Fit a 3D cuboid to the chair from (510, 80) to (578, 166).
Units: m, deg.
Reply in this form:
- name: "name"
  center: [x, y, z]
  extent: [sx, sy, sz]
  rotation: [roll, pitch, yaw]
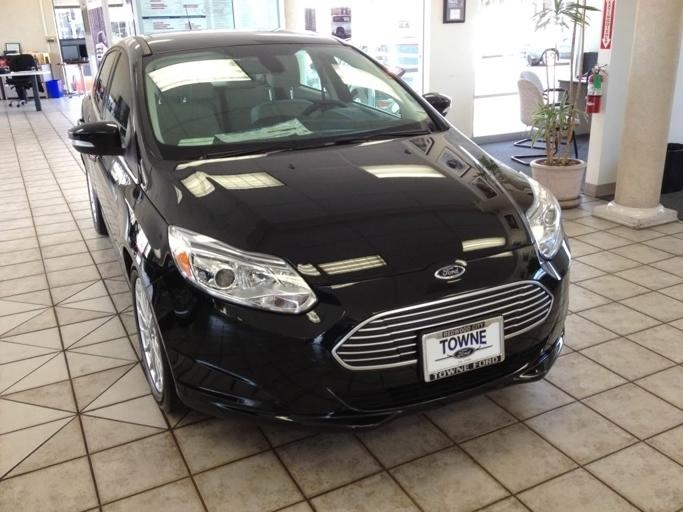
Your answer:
- name: "chair"
  center: [2.666, -1.760, 5.849]
  extent: [0.700, 0.979, 0.681]
  rotation: [-11, 20, -6]

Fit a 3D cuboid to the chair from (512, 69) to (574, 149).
- name: "chair"
  center: [2.561, -1.812, 5.892]
  extent: [0.621, 0.844, 0.581]
  rotation: [-1, 22, 17]

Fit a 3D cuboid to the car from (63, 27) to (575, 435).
- name: "car"
  center: [-0.575, -0.653, 2.797]
  extent: [1.797, 1.082, 3.445]
  rotation: [-13, 34, -32]

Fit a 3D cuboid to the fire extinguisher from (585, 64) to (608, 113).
- name: "fire extinguisher"
  center: [2.416, -1.569, 4.395]
  extent: [0.145, 0.416, 0.281]
  rotation: [8, 29, 24]
